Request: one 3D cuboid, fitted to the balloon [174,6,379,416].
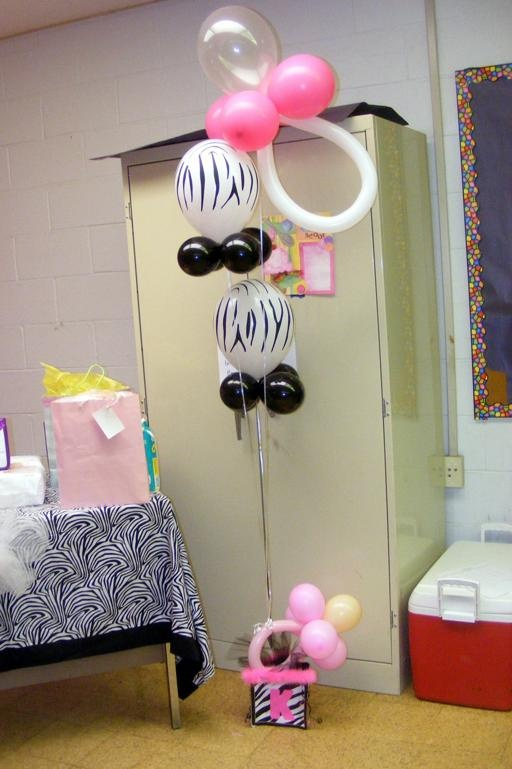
[{"bbox_3d":[0.025,-0.352,1.470,0.360,0.712,0.456,-2,-2,-39],"label":"balloon"}]

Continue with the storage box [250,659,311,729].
[{"bbox_3d":[0.065,0.833,1.714,0.177,0.143,0.179,0,-7,5],"label":"storage box"}]
